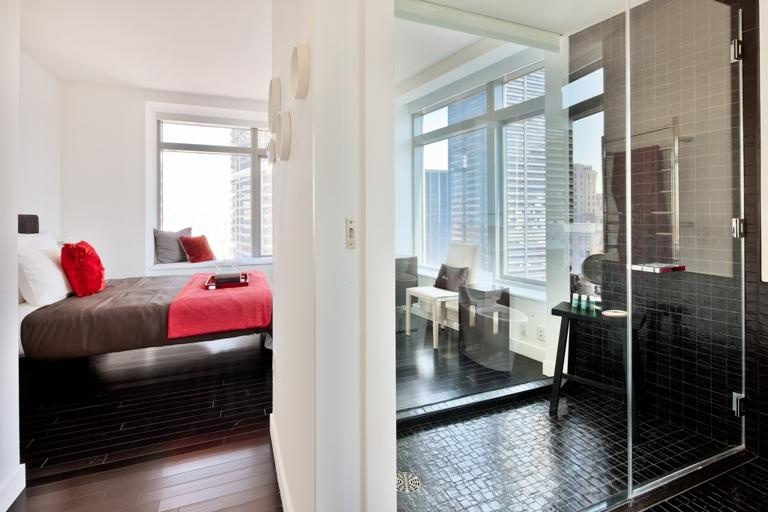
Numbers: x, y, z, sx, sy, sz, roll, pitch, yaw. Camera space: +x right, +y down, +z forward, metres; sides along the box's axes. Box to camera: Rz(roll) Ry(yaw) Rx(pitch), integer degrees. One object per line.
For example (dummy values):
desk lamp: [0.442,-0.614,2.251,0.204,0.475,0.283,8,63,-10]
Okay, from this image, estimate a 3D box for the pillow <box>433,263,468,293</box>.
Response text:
pillow: [0.409,0.136,3.106,0.160,0.134,0.079,9,27,-1]

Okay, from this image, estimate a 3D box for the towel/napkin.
towel/napkin: [1.694,-0.337,3.204,0.461,0.778,0.108,-4,6,-22]

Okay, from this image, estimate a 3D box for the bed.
bed: [-2.110,0.202,4.421,1.465,0.639,1.154,-1,4,-27]
